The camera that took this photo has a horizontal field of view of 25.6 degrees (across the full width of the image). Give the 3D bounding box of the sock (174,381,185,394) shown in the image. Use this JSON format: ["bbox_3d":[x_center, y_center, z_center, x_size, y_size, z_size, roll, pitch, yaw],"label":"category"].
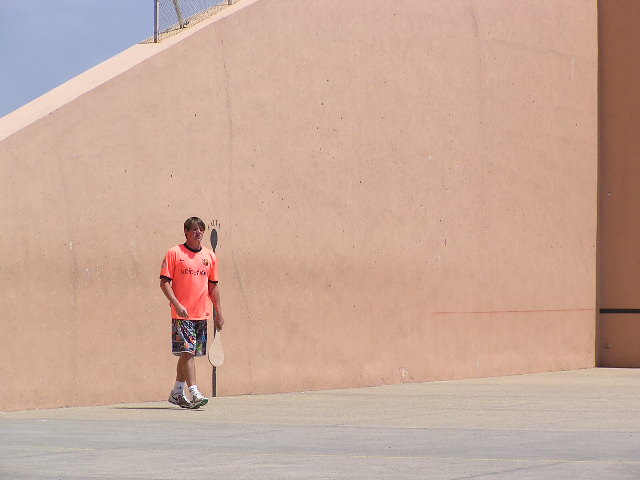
[{"bbox_3d":[-1.390,1.449,13.999,0.124,0.143,0.092,8,-14,-30],"label":"sock"}]

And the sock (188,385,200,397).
[{"bbox_3d":[-1.238,1.480,13.872,0.126,0.094,0.227,3,-9,-15],"label":"sock"}]

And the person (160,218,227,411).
[{"bbox_3d":[-1.261,0.731,13.926,0.525,1.797,0.674,-3,-21,4],"label":"person"}]
